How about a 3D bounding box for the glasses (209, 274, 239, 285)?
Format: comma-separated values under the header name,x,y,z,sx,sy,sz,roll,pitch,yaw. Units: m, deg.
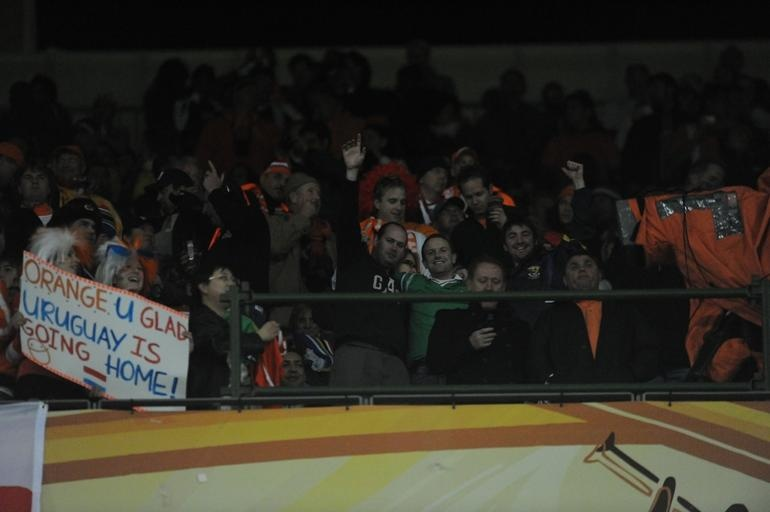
name,x,y,z,sx,sy,sz,roll,pitch,yaw
glasses,-1.544,0.210,15.347,0.152,0.132,0.189,10,-16,-37
